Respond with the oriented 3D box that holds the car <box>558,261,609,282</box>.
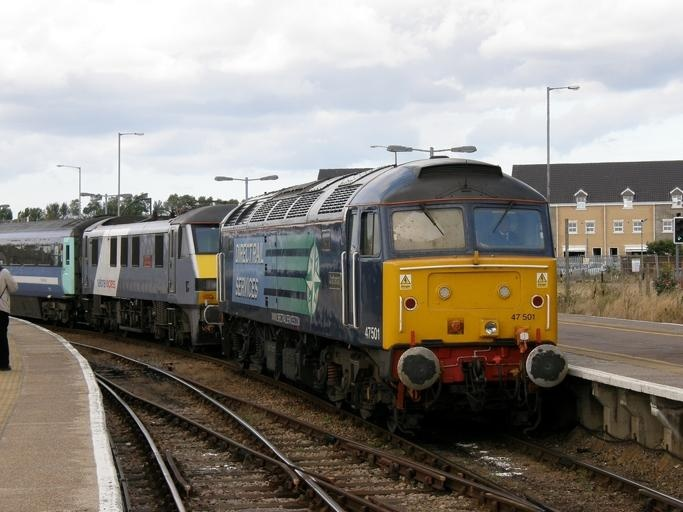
[{"bbox_3d":[15.827,1.064,47.019,0.880,1.423,5.101,0,-5,-12],"label":"car"}]
